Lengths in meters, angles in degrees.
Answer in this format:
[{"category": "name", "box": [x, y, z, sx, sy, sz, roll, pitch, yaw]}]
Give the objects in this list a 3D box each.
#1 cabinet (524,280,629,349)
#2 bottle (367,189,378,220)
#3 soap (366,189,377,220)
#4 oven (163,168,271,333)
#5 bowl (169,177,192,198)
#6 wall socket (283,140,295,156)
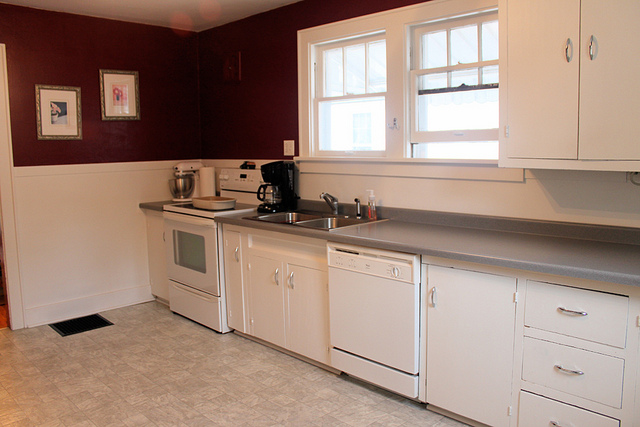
[{"category": "cabinet", "box": [1.390, 0.538, 2.472, 0.469, 0.272, 0.312, 3, 2, 37]}, {"category": "bottle", "box": [0.439, -0.084, 3.748, 0.078, 0.245, 0.128, 0, 14, 6]}, {"category": "soap", "box": [0.435, -0.086, 3.755, 0.077, 0.244, 0.172, 0, 14, 7]}, {"category": "oven", "box": [-1.099, 0.256, 4.415, 0.879, 1.495, 1.285, -6, 11, -38]}, {"category": "bowl", "box": [-1.516, -0.279, 4.882, 0.210, 0.173, 0.233, -1, -2, 0]}, {"category": "wall socket", "box": [-0.301, -0.643, 4.379, 0.155, 0.151, 0.017, 6, 10, 42]}]
